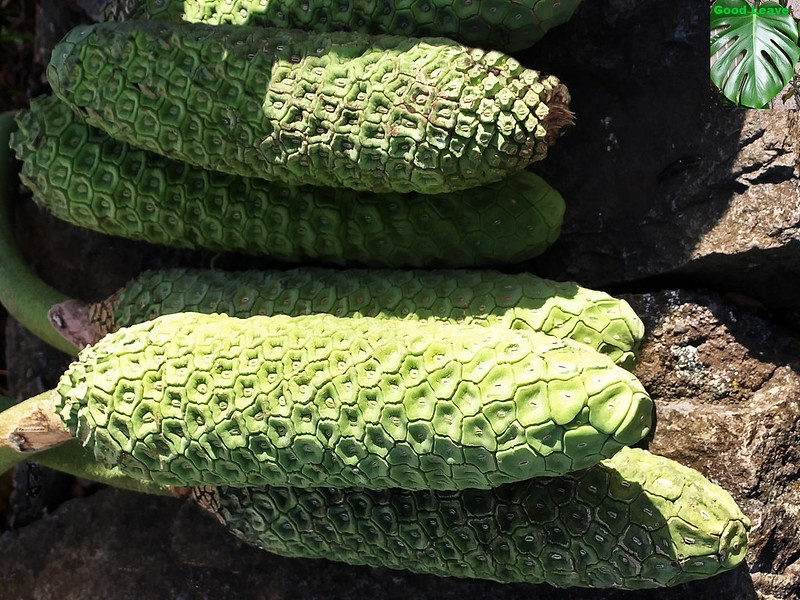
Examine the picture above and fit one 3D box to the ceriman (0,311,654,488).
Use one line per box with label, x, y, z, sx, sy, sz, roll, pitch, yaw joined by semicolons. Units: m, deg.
ceriman;-0.070;0.150;1.525;0.762;0.195;0.236;2;63;10
